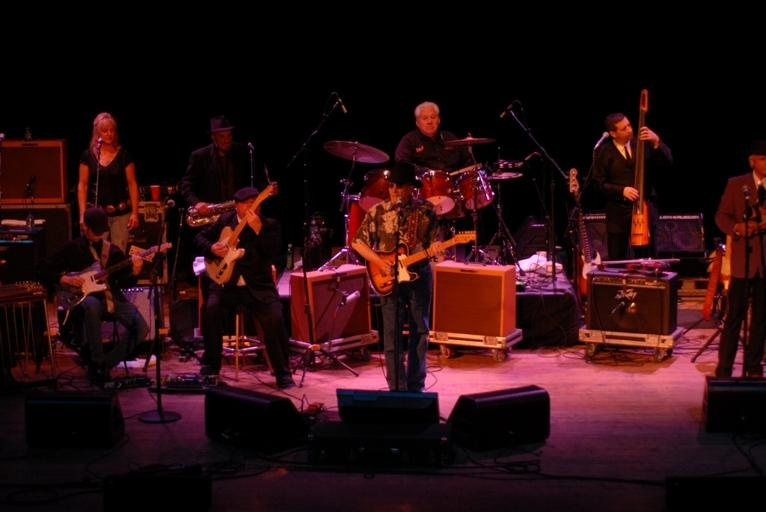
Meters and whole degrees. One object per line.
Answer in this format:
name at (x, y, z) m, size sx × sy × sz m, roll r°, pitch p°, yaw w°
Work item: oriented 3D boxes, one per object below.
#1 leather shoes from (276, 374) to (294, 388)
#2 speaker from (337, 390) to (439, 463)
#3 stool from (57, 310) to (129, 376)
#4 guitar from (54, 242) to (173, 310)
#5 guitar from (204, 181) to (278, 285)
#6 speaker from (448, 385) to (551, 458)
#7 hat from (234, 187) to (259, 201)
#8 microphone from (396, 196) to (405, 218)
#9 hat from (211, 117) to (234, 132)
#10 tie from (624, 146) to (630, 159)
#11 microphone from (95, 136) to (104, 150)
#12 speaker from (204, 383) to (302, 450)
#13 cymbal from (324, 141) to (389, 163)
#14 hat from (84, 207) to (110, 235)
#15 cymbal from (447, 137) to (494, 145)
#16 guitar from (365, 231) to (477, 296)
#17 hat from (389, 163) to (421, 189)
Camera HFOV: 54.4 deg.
leather shoes at (-1.043, 1.349, 8.050) m, size 0.218 × 0.090 × 0.099 m, roll -4°, pitch 5°, yaw 20°
speaker at (0.040, 1.327, 6.372) m, size 0.861 × 0.344 × 0.235 m, roll -1°, pitch 2°, yaw 0°
stool at (-3.167, 0.911, 8.447) m, size 0.793 × 0.972 × 0.793 m, roll -2°, pitch 0°, yaw -35°
guitar at (-3.044, 0.238, 8.330) m, size 0.872 × 0.300 × 0.119 m, roll -27°, pitch -16°, yaw -15°
guitar at (-1.554, -0.212, 8.124) m, size 0.818 × 1.088 × 0.250 m, roll 0°, pitch 2°, yaw 20°
speaker at (1.048, 1.439, 6.557) m, size 0.820 × 0.545 × 0.505 m, roll -1°, pitch 4°, yaw -11°
hat at (-1.482, -0.659, 8.096) m, size 0.254 × 0.154 × 0.196 m, roll -2°, pitch 2°, yaw -28°
microphone at (0.165, -0.487, 7.357) m, size 0.090 × 0.164 × 0.068 m, roll 7°, pitch -3°, yaw -36°
hat at (-2.018, -1.614, 9.260) m, size 0.232 × 0.205 × 0.308 m, roll -1°, pitch 2°, yaw -16°
tie at (2.973, -1.250, 9.129) m, size 0.081 × 0.135 × 0.027 m, roll -1°, pitch -5°, yaw 4°
microphone at (-3.486, -1.370, 9.187) m, size 0.089 × 0.140 × 0.170 m, roll -2°, pitch 2°, yaw -20°
speaker at (-1.136, 1.247, 6.657) m, size 0.890 × 0.450 × 0.503 m, roll 4°, pitch 6°, yaw 40°
cymbal at (-0.340, -1.319, 9.484) m, size 0.599 × 0.238 × 0.666 m, roll 0°, pitch 2°, yaw 32°
hat at (-3.182, -0.371, 8.192) m, size 0.296 × 0.161 × 0.222 m, roll 37°, pitch 35°, yaw 19°
cymbal at (1.073, -1.416, 9.267) m, size 0.353 × 0.079 × 0.347 m, roll -2°, pitch 3°, yaw 9°
guitar at (0.365, 0.102, 7.771) m, size 0.785 × 0.293 × 0.105 m, roll -19°, pitch -11°, yaw 7°
hat at (0.203, -0.765, 7.203) m, size 0.273 × 0.135 × 0.239 m, roll 13°, pitch 2°, yaw -7°
